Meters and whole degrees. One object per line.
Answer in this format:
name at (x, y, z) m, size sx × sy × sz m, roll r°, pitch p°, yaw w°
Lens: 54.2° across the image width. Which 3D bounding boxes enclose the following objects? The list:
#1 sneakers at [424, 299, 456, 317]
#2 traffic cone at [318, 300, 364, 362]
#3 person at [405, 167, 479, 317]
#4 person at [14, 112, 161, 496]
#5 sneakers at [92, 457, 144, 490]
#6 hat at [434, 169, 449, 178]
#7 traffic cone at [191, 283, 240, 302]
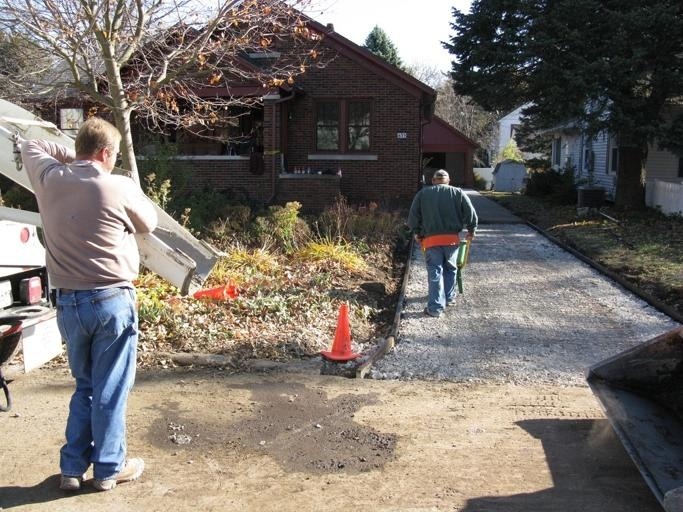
sneakers at (1.412, 0.797, 9.726) m, size 0.320 × 0.119 × 0.251 m, roll -9°, pitch 1°, yaw -1°
traffic cone at (-0.019, 0.944, 8.319) m, size 0.585 × 0.705 × 0.613 m, roll 3°, pitch 3°, yaw -5°
person at (1.421, -0.137, 9.986) m, size 0.762 × 1.839 × 0.961 m, roll 11°, pitch 16°, yaw 43°
person at (-1.894, 0.390, 5.300) m, size 0.831 × 2.864 × 0.640 m, roll -5°, pitch 13°, yaw -22°
sneakers at (-1.803, 1.750, 5.406) m, size 0.144 × 0.189 × 0.390 m, roll 8°, pitch 16°, yaw 32°
hat at (1.484, -1.208, 9.965) m, size 0.178 × 0.103 × 0.260 m, roll 1°, pitch 8°, yaw 5°
traffic cone at (-1.797, 0.531, 9.543) m, size 0.464 × 0.208 × 0.271 m, roll -2°, pitch 1°, yaw -9°
